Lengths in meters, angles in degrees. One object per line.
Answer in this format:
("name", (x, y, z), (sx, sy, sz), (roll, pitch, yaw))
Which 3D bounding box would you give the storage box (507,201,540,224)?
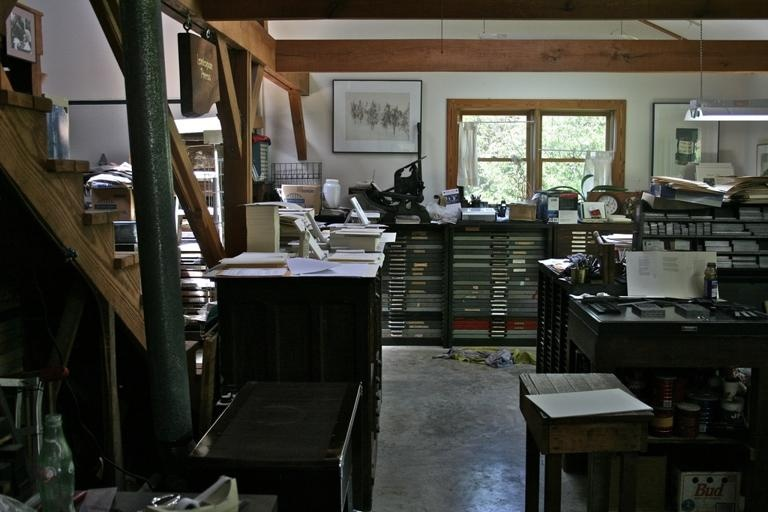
("storage box", (1.455, -0.464, 7.291), (0.231, 0.137, 0.230), (0, 1, -34))

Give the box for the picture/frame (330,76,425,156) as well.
("picture/frame", (-0.117, -1.697, 8.078), (1.044, 0.767, 0.027), (1, 4, 1))

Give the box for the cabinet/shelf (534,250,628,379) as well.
("cabinet/shelf", (1.468, 0.691, 5.295), (0.354, 1.051, 1.104), (-3, 20, -8))

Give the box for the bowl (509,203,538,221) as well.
("bowl", (1.437, -0.466, 7.247), (0.220, 0.129, 0.217), (0, 1, 0))

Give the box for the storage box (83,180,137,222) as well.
("storage box", (-2.955, -0.516, 7.053), (0.396, 0.338, 0.264), (-3, -17, -17))

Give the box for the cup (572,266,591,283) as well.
("cup", (1.405, 0.142, 4.905), (0.112, 0.140, 0.147), (-2, 8, 4))

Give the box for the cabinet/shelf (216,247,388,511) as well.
("cabinet/shelf", (-0.495, 0.527, 5.171), (1.336, 2.015, 2.157), (-1, 6, 1))

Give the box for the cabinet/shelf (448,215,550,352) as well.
("cabinet/shelf", (1.153, 0.238, 7.120), (1.461, 1.724, 0.689), (0, 6, 1))

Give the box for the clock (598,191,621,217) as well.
("clock", (2.496, -0.565, 7.527), (0.275, 0.262, 0.079), (-1, -5, 11))

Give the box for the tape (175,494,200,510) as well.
("tape", (-0.816, 0.964, 2.673), (0.061, 0.048, 0.050), (3, 9, -3))
